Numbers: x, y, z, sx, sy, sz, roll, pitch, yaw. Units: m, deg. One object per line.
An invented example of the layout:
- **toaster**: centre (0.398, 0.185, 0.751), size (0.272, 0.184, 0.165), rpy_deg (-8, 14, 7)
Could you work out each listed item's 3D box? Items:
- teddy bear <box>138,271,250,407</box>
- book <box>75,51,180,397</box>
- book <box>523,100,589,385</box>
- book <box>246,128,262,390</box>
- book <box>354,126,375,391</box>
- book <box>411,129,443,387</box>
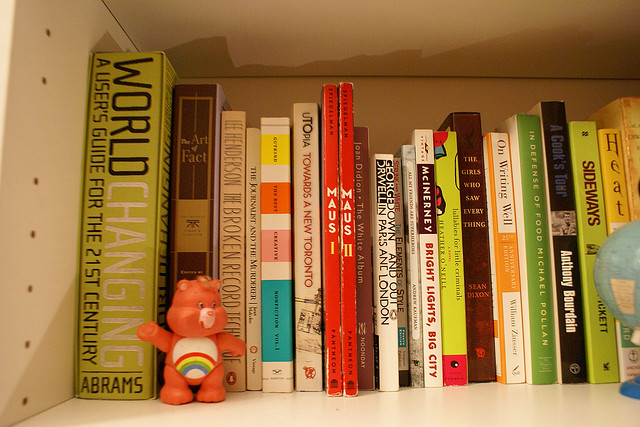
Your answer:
- **teddy bear**: centre (-0.266, 0.267, 1.191), size (0.255, 0.285, 0.141), rpy_deg (2, -8, -19)
- **book**: centre (-0.420, 0.016, 1.216), size (0.200, 0.719, 0.040), rpy_deg (-2, -6, 0)
- **book**: centre (0.523, 0.058, 1.268), size (0.089, 0.618, 0.026), rpy_deg (-2, -6, -2)
- **book**: centre (-0.146, 0.093, 1.256), size (0.040, 0.564, 0.022), rpy_deg (-1, -6, -9)
- **book**: centre (0.091, 0.093, 1.254), size (0.045, 0.567, 0.030), rpy_deg (-2, -6, 2)
- **book**: centre (0.236, 0.091, 1.263), size (0.050, 0.561, 0.022), rpy_deg (-2, -6, -3)
